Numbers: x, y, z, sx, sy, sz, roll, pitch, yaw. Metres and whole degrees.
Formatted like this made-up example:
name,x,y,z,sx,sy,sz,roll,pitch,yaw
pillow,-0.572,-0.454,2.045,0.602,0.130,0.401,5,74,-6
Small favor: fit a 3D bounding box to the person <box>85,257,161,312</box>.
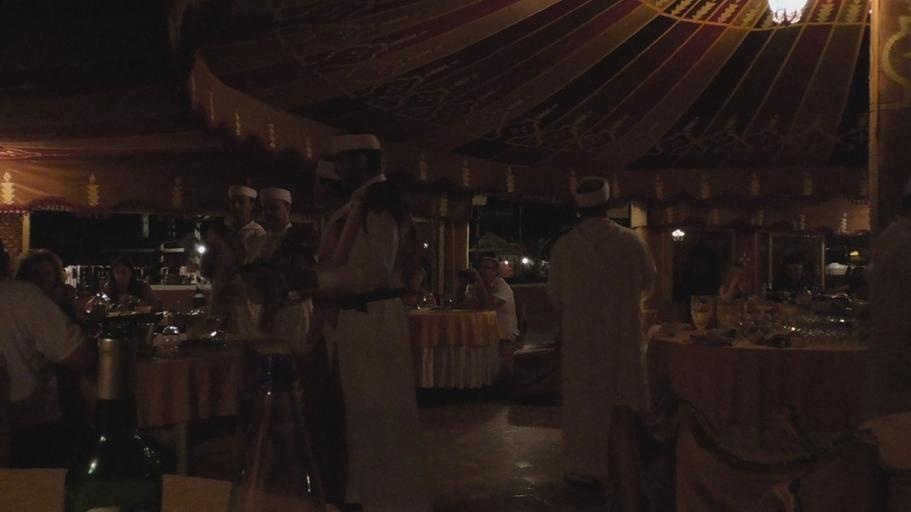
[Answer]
name,x,y,z,sx,sy,sz,roll,pitch,yaw
person,-4.310,0.373,9.993,0.467,0.705,0.387,-8,-26,-18
